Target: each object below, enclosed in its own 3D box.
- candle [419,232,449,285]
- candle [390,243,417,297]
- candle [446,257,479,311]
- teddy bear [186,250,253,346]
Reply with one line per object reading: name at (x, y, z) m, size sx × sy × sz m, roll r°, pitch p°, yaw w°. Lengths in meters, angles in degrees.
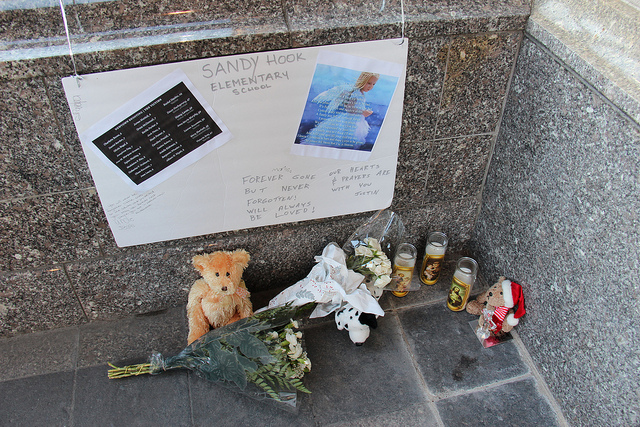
candle at (0.617, 0.255, 2.704) m, size 0.123 × 0.303 × 0.121 m, roll -18°, pitch 44°, yaw -22°
candle at (0.445, 0.314, 2.652) m, size 0.125 × 0.286 × 0.120 m, roll -15°, pitch 39°, yaw -21°
candle at (0.743, 0.379, 2.595) m, size 0.111 × 0.321 × 0.120 m, roll 29°, pitch 50°, yaw 28°
teddy bear at (-0.482, 0.423, 2.453) m, size 0.350 × 0.464 × 0.290 m, roll 2°, pitch 24°, yaw -6°
